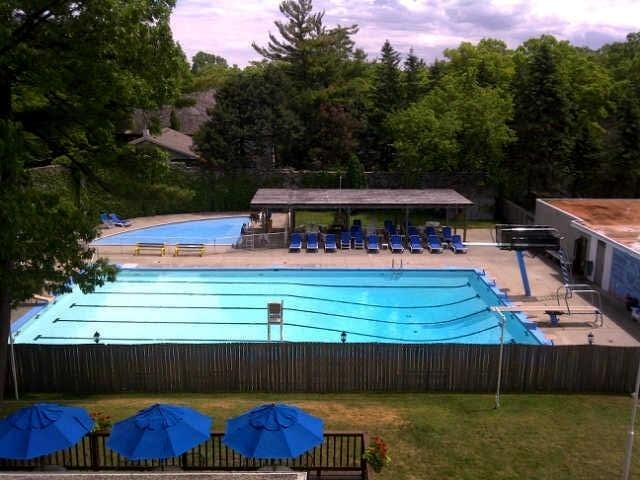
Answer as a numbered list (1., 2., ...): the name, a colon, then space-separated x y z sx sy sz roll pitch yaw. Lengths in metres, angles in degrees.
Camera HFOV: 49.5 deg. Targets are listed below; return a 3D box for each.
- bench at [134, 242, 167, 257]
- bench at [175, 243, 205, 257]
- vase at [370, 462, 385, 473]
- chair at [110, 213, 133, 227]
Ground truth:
1. bench: -10.289 0.499 41.956 1.844 0.598 1.958 -5 14 -14
2. bench: -7.927 0.545 42.179 1.789 0.516 2.303 -3 13 -8
3. vase: 1.616 6.382 19.288 0.482 0.332 0.483 1 -2 1
4. chair: -15.138 -1.500 52.547 1.795 0.754 0.954 4 12 11
